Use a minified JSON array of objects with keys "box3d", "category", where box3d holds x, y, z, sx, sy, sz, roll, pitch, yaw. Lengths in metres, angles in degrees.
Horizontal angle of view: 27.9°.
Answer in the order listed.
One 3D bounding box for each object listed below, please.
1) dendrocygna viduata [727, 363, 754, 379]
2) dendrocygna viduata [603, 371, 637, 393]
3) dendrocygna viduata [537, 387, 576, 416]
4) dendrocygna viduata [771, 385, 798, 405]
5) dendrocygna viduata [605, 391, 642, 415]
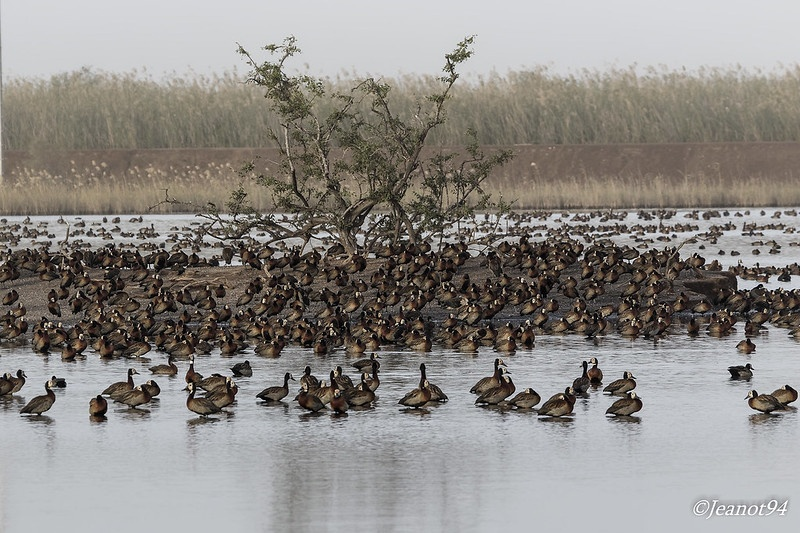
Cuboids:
[{"box3d":[6.615,2.044,30.848,0.467,0.253,0.241,-1,2,-19],"category":"dendrocygna viduata"},{"box3d":[4.124,2.176,29.870,0.301,0.369,0.716,-3,1,-34],"category":"dendrocygna viduata"},{"box3d":[2.873,2.482,28.970,0.688,0.391,0.357,-5,6,-5],"category":"dendrocygna viduata"},{"box3d":[7.093,2.355,29.339,0.338,0.288,0.449,-7,-2,-35],"category":"dendrocygna viduata"},{"box3d":[4.077,2.485,28.794,0.691,0.424,0.321,-2,1,2],"category":"dendrocygna viduata"}]
